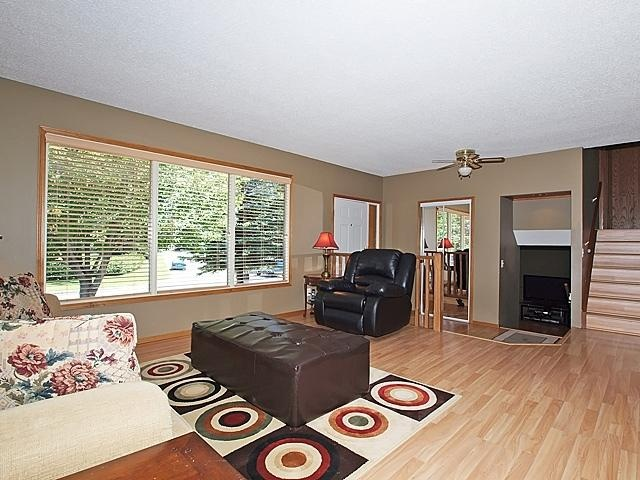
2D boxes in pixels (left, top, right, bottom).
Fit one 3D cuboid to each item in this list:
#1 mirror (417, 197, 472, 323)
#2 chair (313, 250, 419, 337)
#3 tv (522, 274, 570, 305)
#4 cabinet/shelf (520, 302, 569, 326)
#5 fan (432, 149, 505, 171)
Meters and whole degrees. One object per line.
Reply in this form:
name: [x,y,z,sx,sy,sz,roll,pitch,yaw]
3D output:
mirror: [2.263,0.270,6.994,0.729,2.002,1.181,-3,11,-20]
chair: [0.557,0.639,5.492,1.166,1.074,1.283,-3,-5,44]
tv: [4.066,0.888,7.187,0.184,0.392,0.626,3,-3,-44]
cabinet/shelf: [3.916,1.263,7.055,0.366,0.353,0.785,-8,13,-42]
fan: [2.095,-1.125,5.626,0.600,0.142,0.597,-1,0,-37]
